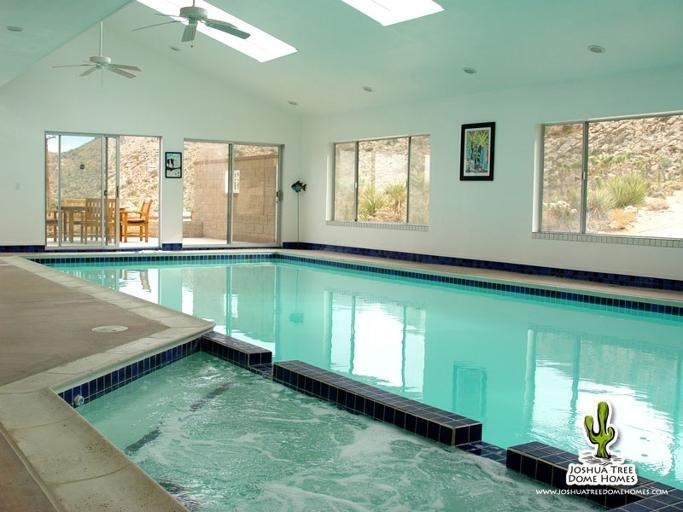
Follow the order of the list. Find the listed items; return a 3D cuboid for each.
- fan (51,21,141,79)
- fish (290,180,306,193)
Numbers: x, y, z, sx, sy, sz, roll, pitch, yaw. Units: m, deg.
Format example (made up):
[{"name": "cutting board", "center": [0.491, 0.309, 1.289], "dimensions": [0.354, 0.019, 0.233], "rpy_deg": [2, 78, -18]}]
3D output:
[{"name": "fan", "center": [-4.302, -3.793, 8.859], "dimensions": [1.403, 0.899, 1.371], "rpy_deg": [0, 6, -12]}, {"name": "fish", "center": [-1.214, -1.971, 13.970], "dimensions": [0.419, 0.359, 0.274], "rpy_deg": [0, 5, -11]}]
